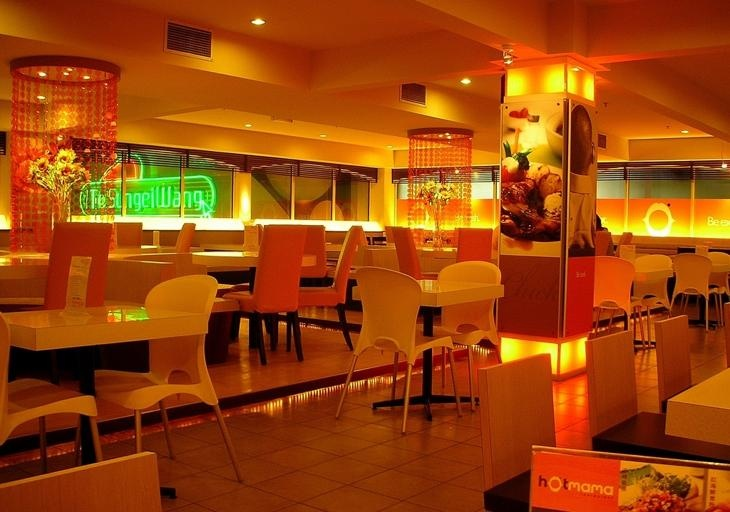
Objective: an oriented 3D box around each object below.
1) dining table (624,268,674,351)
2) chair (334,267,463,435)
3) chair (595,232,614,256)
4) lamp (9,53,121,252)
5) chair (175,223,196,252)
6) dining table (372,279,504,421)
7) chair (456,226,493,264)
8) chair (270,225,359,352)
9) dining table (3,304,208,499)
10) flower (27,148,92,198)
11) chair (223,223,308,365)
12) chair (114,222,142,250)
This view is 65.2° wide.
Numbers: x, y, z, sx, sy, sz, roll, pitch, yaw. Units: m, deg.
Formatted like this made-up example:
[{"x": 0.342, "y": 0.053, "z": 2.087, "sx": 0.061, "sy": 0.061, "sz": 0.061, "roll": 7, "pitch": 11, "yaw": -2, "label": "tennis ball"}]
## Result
[{"x": 3.781, "y": 0.646, "z": 7.586, "sx": 0.676, "sy": 0.828, "sz": 0.624, "roll": -7, "pitch": -3, "yaw": -33, "label": "dining table"}, {"x": 0.266, "y": 0.665, "z": 4.294, "sx": 0.742, "sy": 1.085, "sz": 0.829, "roll": 1, "pitch": 2, "yaw": 25, "label": "chair"}, {"x": 3.142, "y": -0.157, "z": 7.530, "sx": 0.299, "sy": 0.353, "sz": 0.317, "roll": 3, "pitch": 7, "yaw": 21, "label": "chair"}, {"x": -4.086, "y": -1.731, "z": 7.848, "sx": 1.238, "sy": 2.051, "sz": 1.206, "roll": 5, "pitch": -18, "yaw": -38, "label": "lamp"}, {"x": -2.643, "y": -0.275, "z": 8.389, "sx": 0.232, "sy": 0.444, "sz": 1.254, "roll": 0, "pitch": 2, "yaw": -18, "label": "chair"}, {"x": 0.487, "y": 0.761, "z": 4.627, "sx": 1.256, "sy": 0.889, "sz": 1.158, "roll": -1, "pitch": -8, "yaw": -3, "label": "dining table"}, {"x": 1.738, "y": -0.187, "z": 9.071, "sx": 0.544, "sy": 0.505, "sz": 0.372, "roll": 1, "pitch": 2, "yaw": 10, "label": "chair"}, {"x": -0.550, "y": 0.306, "z": 6.705, "sx": 0.939, "sy": 1.319, "sz": 0.797, "roll": 1, "pitch": 5, "yaw": 0, "label": "chair"}, {"x": -1.394, "y": 0.605, "z": 2.962, "sx": 0.859, "sy": 0.879, "sz": 0.852, "roll": -4, "pitch": -6, "yaw": 42, "label": "dining table"}, {"x": -3.379, "y": -0.843, "z": 6.436, "sx": 0.719, "sy": 0.654, "sz": 0.778, "roll": -3, "pitch": 2, "yaw": -35, "label": "flower"}, {"x": -1.076, "y": 0.377, "z": 6.090, "sx": 0.712, "sy": 1.350, "sz": 0.809, "roll": 1, "pitch": -2, "yaw": -34, "label": "chair"}, {"x": -3.652, "y": -0.312, "z": 8.826, "sx": 0.420, "sy": 0.580, "sz": 0.458, "roll": 1, "pitch": 1, "yaw": -25, "label": "chair"}]
